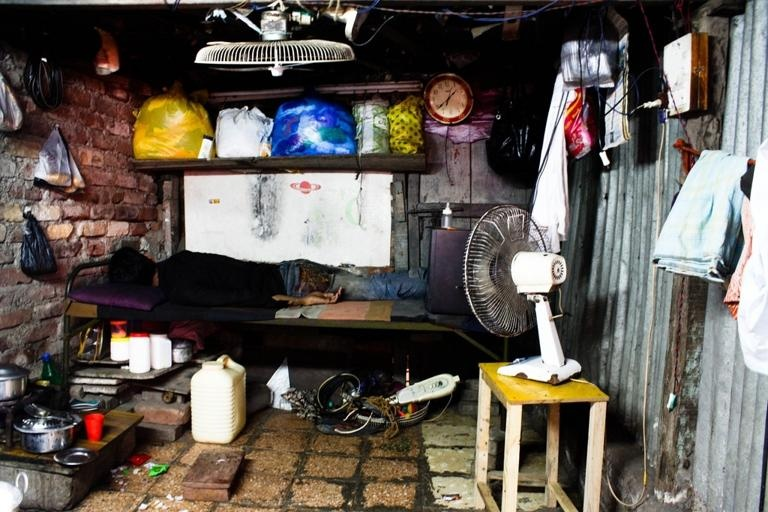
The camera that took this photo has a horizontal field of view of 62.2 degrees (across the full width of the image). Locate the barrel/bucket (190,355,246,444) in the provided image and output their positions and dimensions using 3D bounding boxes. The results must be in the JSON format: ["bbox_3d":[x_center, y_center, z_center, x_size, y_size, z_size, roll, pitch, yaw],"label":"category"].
[{"bbox_3d":[-1.245,1.084,4.793,0.400,0.645,0.234,1,3,-17],"label":"barrel/bucket"}]

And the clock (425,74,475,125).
[{"bbox_3d":[0.554,-1.348,5.361,0.455,0.419,0.068,-1,12,4],"label":"clock"}]

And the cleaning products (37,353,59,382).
[{"bbox_3d":[-2.519,0.837,4.762,0.122,0.242,0.240,2,3,-1],"label":"cleaning products"}]

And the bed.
[{"bbox_3d":[-1.157,0.484,4.985,2.638,0.856,0.533,2,3,1],"label":"bed"}]

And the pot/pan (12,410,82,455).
[{"bbox_3d":[-2.187,1.144,4.100,0.305,0.161,0.282,2,-9,-3],"label":"pot/pan"}]

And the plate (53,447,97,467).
[{"bbox_3d":[-1.998,1.305,4.097,0.197,0.090,0.194,3,3,33],"label":"plate"}]

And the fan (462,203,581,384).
[{"bbox_3d":[0.837,0.223,3.824,0.668,1.051,0.398,3,3,14],"label":"fan"}]

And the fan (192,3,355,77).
[{"bbox_3d":[-0.676,-1.384,4.066,0.913,0.441,0.414,2,3,17],"label":"fan"}]
